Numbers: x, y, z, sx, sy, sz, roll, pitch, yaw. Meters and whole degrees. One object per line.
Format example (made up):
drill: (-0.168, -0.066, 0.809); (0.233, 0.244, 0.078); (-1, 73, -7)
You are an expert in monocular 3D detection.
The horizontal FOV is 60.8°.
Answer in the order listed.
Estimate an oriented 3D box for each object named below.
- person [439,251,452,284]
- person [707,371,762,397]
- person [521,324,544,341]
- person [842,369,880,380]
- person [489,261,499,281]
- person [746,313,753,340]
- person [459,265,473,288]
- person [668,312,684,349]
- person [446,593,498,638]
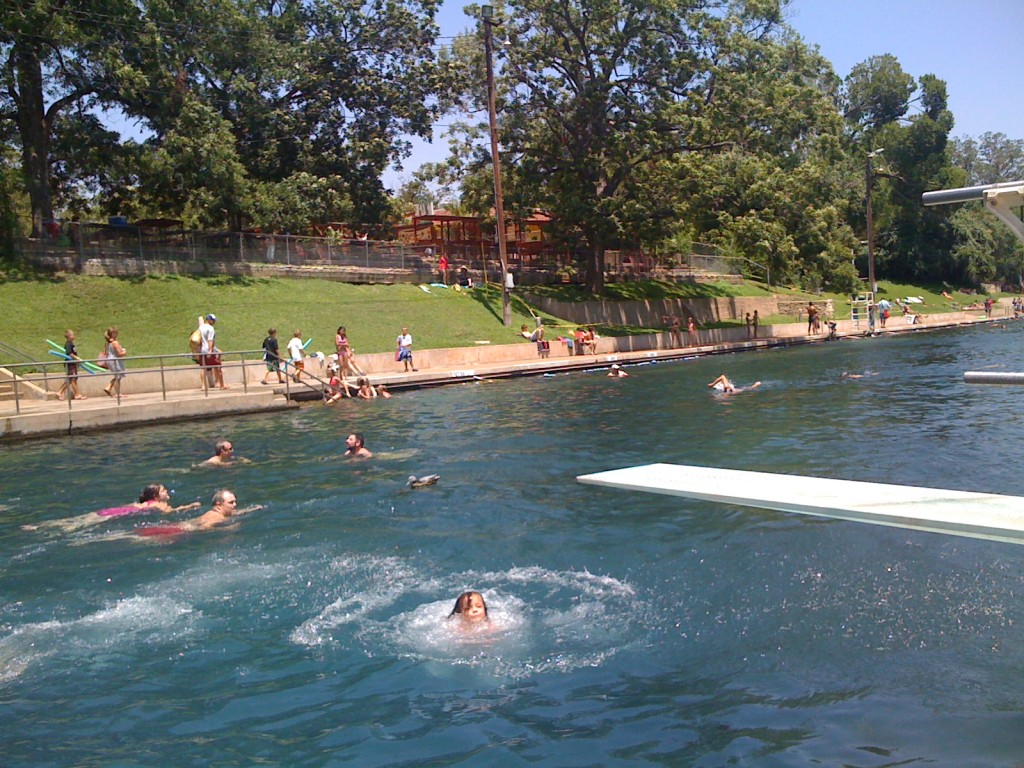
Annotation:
person: (-3.917, -6.844, 50.988); (0.545, 1.928, 1.162); (0, 0, 41)
person: (7.786, -0.021, 30.844); (2.393, 1.093, 0.819); (-1, 7, -2)
person: (1.061, -2.591, 42.909); (0.747, 0.886, 1.569); (-5, 11, -20)
person: (13.508, -0.352, 33.977); (1.300, 0.251, 0.678); (-3, 3, -21)
person: (-1.109, -7.084, 54.052); (0.611, 1.269, 0.897); (-1, 11, 0)
person: (14.582, -3.541, 53.427); (0.555, 1.380, 2.026); (2, 11, 15)
person: (-2.805, -6.426, 51.504); (0.767, 1.202, 2.220); (-2, 11, -3)
person: (9.358, -2.965, 50.030); (0.742, 1.419, 2.334); (1, 11, 10)
person: (-0.548, 3.160, 11.751); (0.646, 0.851, 0.500); (-4, -35, -11)
